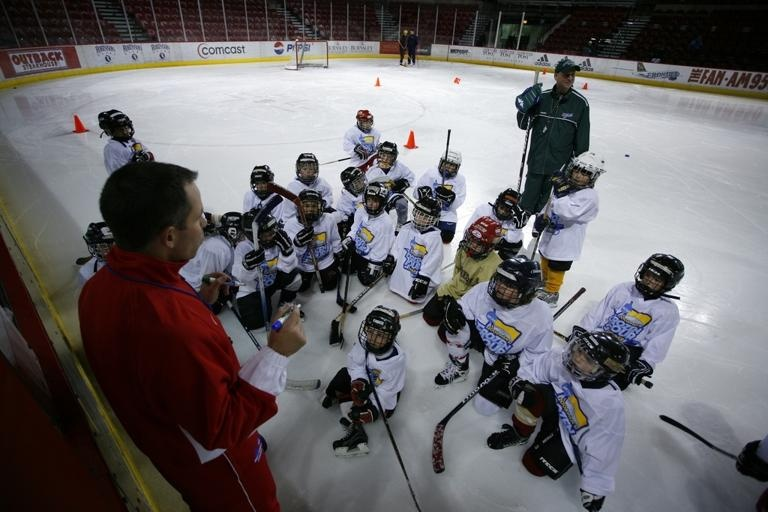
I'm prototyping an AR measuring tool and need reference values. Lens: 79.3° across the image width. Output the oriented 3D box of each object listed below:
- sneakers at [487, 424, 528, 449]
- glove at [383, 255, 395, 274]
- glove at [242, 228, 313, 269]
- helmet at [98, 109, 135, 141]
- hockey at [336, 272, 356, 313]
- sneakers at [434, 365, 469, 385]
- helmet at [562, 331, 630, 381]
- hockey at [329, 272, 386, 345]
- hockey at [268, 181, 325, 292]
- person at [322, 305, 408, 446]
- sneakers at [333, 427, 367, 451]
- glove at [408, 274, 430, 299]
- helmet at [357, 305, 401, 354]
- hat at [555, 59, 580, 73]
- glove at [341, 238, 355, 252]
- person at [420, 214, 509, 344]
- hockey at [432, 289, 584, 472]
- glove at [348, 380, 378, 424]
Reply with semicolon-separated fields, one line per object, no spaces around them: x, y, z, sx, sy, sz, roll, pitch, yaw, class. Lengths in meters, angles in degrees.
1.091;1.657;4.281;0.455;0.197;0.167;-3;61;0;sneakers
0.061;0.106;5.681;0.125;0.214;0.134;5;5;-4;glove
-1.088;-0.067;5.019;0.488;0.222;0.368;-28;12;25;glove
-3.954;-1.913;6.865;0.388;0.445;0.343;-18;33;-31;helmet
-0.479;0.443;5.523;0.108;0.421;0.278;1;-10;35;hockey
0.656;1.200;4.717;0.403;0.163;0.142;-9;58;-7;sneakers
1.812;0.874;4.020;0.483;0.376;0.379;1;58;0;helmet
-0.332;0.586;5.233;0.346;0.146;0.933;35;46;10;hockey
-1.010;-0.163;5.394;0.454;1.673;0.241;-15;49;-16;hockey
-0.179;1.179;4.370;0.658;1.017;0.695;-10;43;-38;person
-0.300;1.621;4.120;0.305;0.163;0.193;-2;28;-5;sneakers
0.422;0.359;5.390;0.209;0.272;0.099;18;10;4;glove
-0.037;0.649;4.346;0.339;0.406;0.433;17;16;22;helmet
2.343;-2.415;5.892;0.262;0.180;0.446;12;30;20;hat
-0.463;-0.149;5.892;0.179;0.138;0.070;-23;-11;40;glove
0.873;0.286;5.030;0.693;1.273;0.679;-17;55;-24;person
1.139;1.215;4.335;0.362;0.199;2.489;39;54;21;hockey
-0.193;1.314;4.215;0.336;0.339;0.144;-2;-7;-3;glove
